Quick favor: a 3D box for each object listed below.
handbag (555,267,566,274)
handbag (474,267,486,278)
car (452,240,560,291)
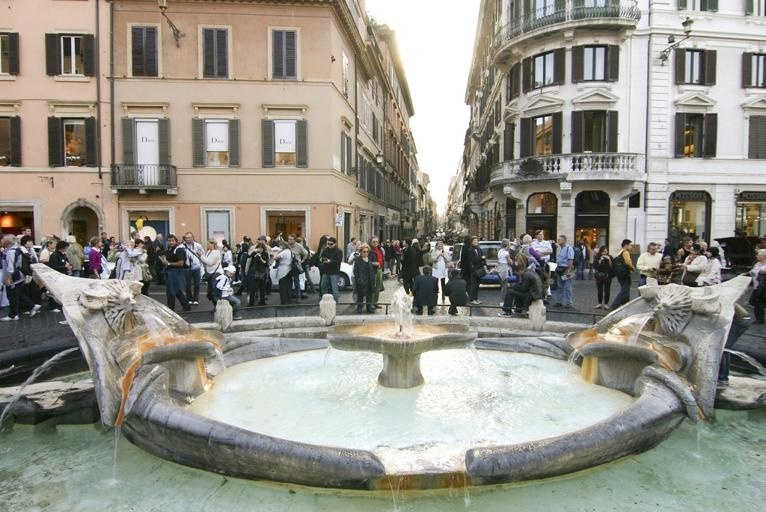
[{"bbox_3d":[6.034,0.530,22.644,0.209,0.196,0.220,-1,1,27],"label":"handbag"},{"bbox_3d":[3.324,0.620,22.719,0.404,0.327,0.235,-2,-2,1],"label":"handbag"},{"bbox_3d":[4.215,0.447,25.527,2.640,1.489,1.560,-2,2,-1],"label":"car"}]
